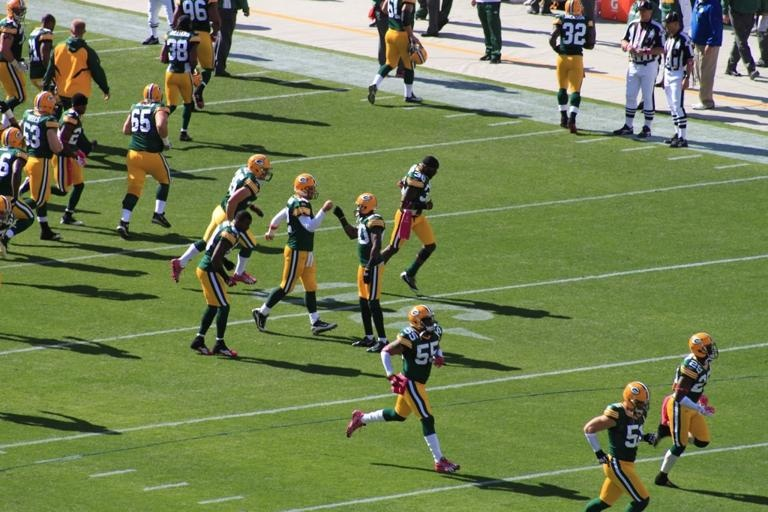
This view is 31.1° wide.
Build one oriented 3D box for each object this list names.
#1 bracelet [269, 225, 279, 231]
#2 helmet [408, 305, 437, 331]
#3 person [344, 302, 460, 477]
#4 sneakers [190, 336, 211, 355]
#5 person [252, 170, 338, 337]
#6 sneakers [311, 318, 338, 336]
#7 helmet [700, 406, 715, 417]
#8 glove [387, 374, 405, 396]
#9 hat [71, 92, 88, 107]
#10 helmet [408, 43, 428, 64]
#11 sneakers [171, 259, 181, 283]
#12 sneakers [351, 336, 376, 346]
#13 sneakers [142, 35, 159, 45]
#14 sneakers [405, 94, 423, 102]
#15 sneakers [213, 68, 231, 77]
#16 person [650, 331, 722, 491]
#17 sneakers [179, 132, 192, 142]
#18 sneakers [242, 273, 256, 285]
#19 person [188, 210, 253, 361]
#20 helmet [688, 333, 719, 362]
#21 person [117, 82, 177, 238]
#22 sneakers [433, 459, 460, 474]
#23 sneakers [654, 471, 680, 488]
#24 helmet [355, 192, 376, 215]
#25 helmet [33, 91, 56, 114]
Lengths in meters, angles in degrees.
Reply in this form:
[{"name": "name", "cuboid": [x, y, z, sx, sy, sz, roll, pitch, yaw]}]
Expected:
[{"name": "bracelet", "cuboid": [-1.541, -0.396, 19.200, 0.093, 0.050, 0.079, 3, 15, 7]}, {"name": "helmet", "cuboid": [0.454, 0.727, 16.351, 0.402, 0.242, 0.249, 5, 10, 2]}, {"name": "person", "cuboid": [0.349, 1.528, 16.314, 1.392, 1.877, 0.497, 10, 11, 22]}, {"name": "sneakers", "cuboid": [-2.419, 1.188, 18.234, 0.359, 0.185, 0.191, 6, 0, -18]}, {"name": "person", "cuboid": [-1.169, -0.063, 19.002, 1.082, 2.151, 1.478, 6, 10, -5]}, {"name": "sneakers", "cuboid": [-0.869, 0.963, 18.780, 0.459, 0.182, 0.139, -10, 19, 4]}, {"name": "helmet", "cuboid": [3.829, 1.839, 16.329, 0.078, 0.096, 0.250, 50, 26, 24]}, {"name": "glove", "cuboid": [0.138, 1.522, 16.341, 0.205, 0.271, 0.260, 5, 9, -9]}, {"name": "hat", "cuboid": [-4.759, -2.445, 21.608, 0.190, 0.173, 0.292, 5, 9, -6]}, {"name": "helmet", "cuboid": [0.733, -3.885, 26.385, 0.328, 0.329, 0.395, -22, 30, -3]}, {"name": "sneakers", "cuboid": [-2.951, 0.206, 19.626, 0.200, 0.316, 0.125, 1, 16, 9]}, {"name": "sneakers", "cuboid": [-0.322, 1.142, 18.615, 0.406, 0.118, 0.118, 1, 6, 8]}, {"name": "sneakers", "cuboid": [-5.042, -4.753, 30.381, 0.509, 0.167, 0.139, 2, 37, 4]}, {"name": "sneakers", "cuboid": [0.573, -3.116, 27.210, 0.356, 0.118, 0.138, -3, 14, -7]}, {"name": "sneakers", "cuboid": [-3.352, -3.806, 28.609, 0.414, 0.105, 0.238, -9, -15, -20]}, {"name": "person", "cuboid": [3.509, 1.786, 16.228, 0.573, 1.735, 0.805, 13, 11, 27]}, {"name": "sneakers", "cuboid": [-3.589, -2.160, 24.997, 0.270, 0.110, 0.215, -11, -27, -14]}, {"name": "sneakers", "cuboid": [-1.946, 0.327, 19.735, 0.318, 0.111, 0.102, 6, 23, 17]}, {"name": "person", "cuboid": [-2.111, 0.363, 18.150, 0.554, 1.930, 0.569, -2, 14, -41]}, {"name": "helmet", "cuboid": [3.738, 1.066, 16.361, 0.392, 0.264, 0.289, -5, 5, 6]}, {"name": "person", "cuboid": [-3.709, -1.466, 21.358, 0.885, 2.374, 0.781, 1, 12, -31]}, {"name": "sneakers", "cuboid": [0.729, 2.453, 16.093, 0.297, 0.110, 0.144, 0, 30, 6]}, {"name": "sneakers", "cuboid": [3.309, 2.607, 16.051, 0.332, 0.170, 0.116, 0, 6, -4]}, {"name": "helmet", "cuboid": [-0.284, -0.695, 18.513, 0.406, 0.258, 0.288, -2, 5, 8]}, {"name": "helmet", "cuboid": [-5.143, -2.344, 21.011, 0.284, 0.315, 0.406, 3, 9, -16]}]
